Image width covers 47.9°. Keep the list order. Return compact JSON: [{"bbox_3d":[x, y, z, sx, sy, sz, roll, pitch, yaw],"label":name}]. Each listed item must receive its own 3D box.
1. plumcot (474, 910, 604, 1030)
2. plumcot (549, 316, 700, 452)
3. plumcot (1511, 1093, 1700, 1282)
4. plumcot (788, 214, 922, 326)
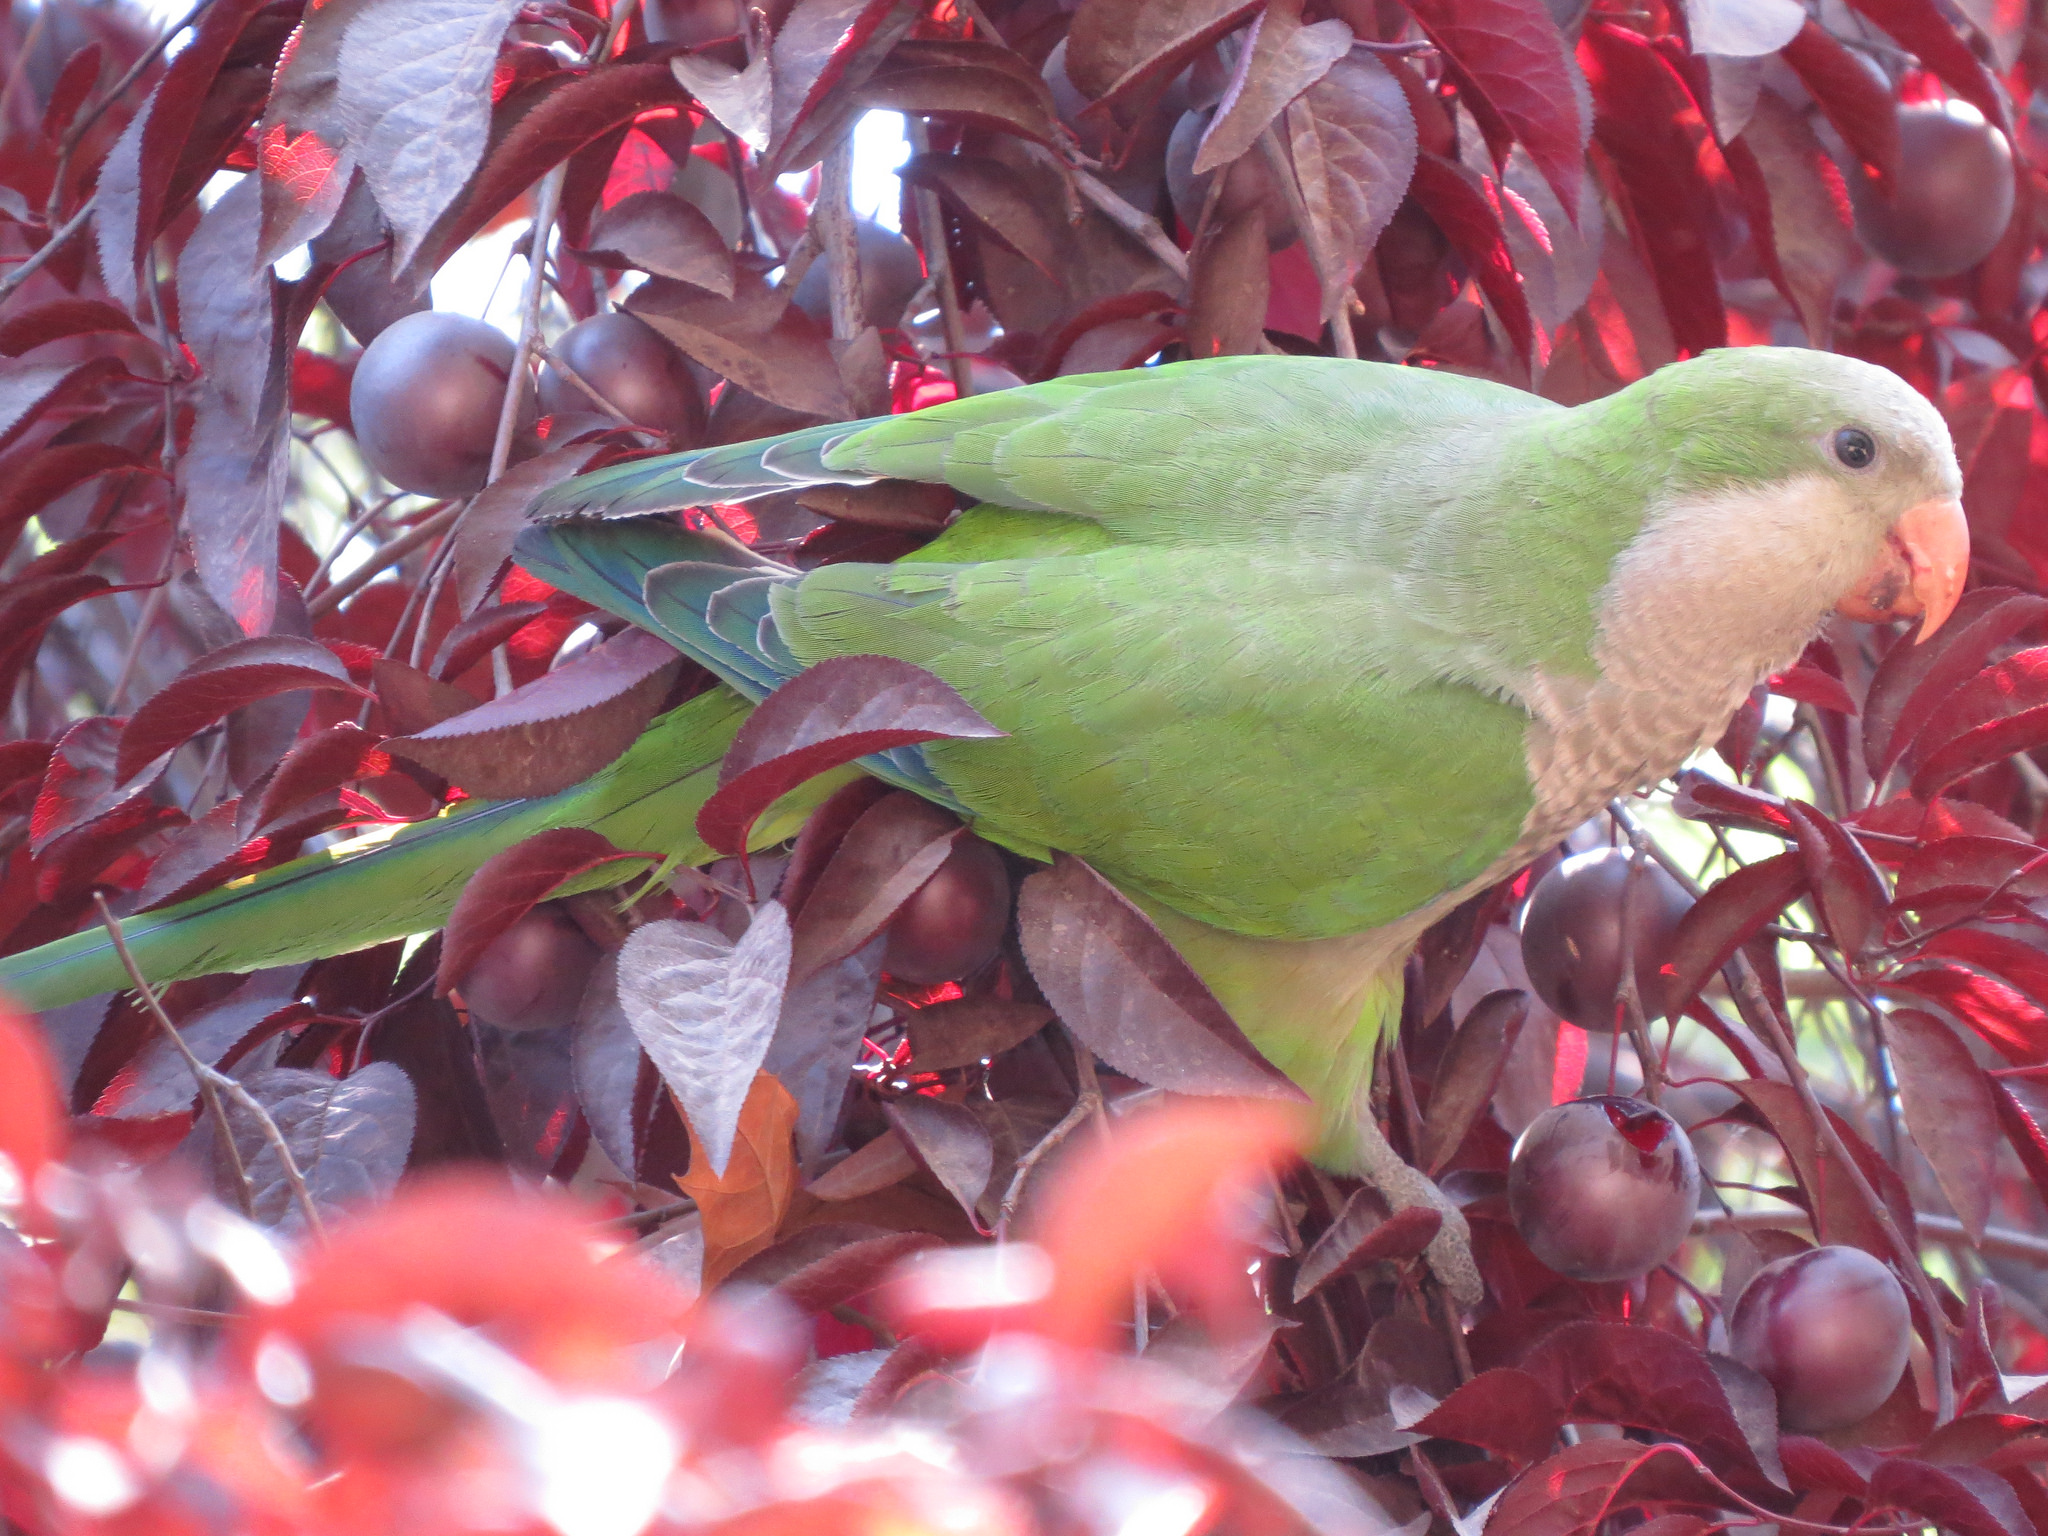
[{"bbox_3d":[-0.337,0.150,1.611,0.058,0.086,0.077,33,41,24],"label":"plumcot"},{"bbox_3d":[-0.293,-0.288,1.764,0.121,0.096,0.098,-4,30,-27],"label":"plumcot"},{"bbox_3d":[0.394,0.290,1.584,0.111,0.103,0.109,-38,29,-24],"label":"plumcot"},{"bbox_3d":[-0.122,-0.381,1.776,0.101,0.074,0.083,2,38,-14],"label":"plumcot"}]
